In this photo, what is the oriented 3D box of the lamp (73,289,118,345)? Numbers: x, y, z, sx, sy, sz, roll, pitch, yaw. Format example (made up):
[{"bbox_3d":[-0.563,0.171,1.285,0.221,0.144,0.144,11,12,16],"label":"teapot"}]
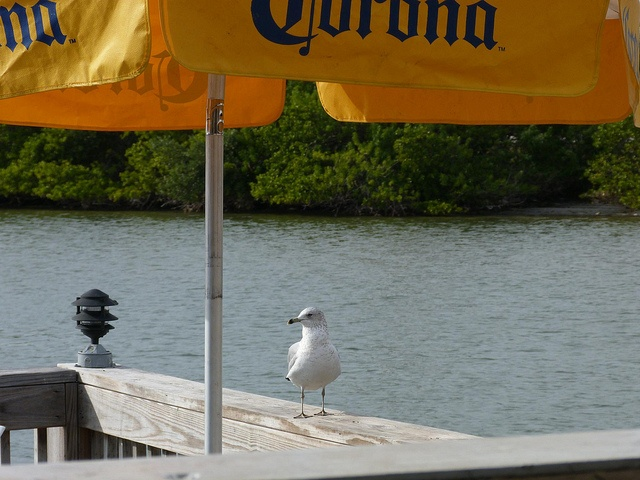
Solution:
[{"bbox_3d":[-3.691,1.252,30.363,0.833,0.897,0.788,0,3,-28],"label":"lamp"}]
